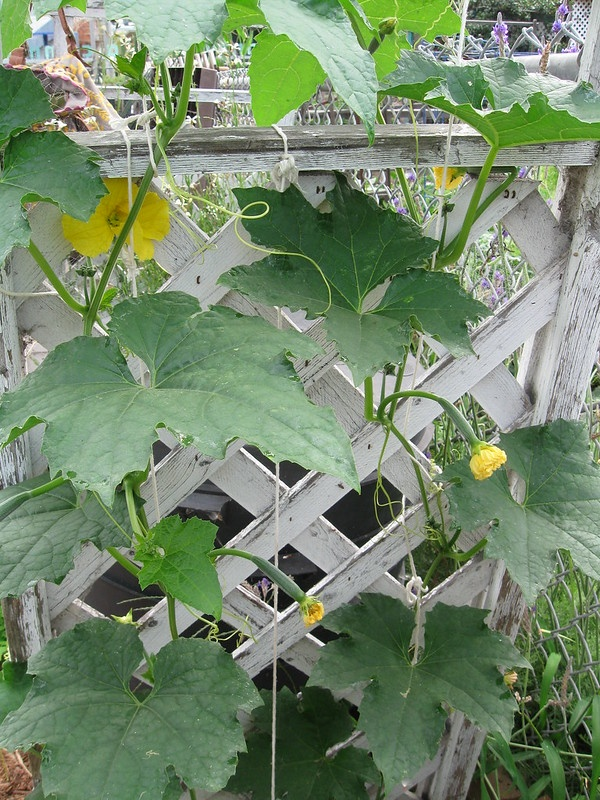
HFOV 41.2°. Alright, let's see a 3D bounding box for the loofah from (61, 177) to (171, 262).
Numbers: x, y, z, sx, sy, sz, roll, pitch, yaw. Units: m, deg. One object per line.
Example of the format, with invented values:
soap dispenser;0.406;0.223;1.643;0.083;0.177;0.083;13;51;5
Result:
loofah;-0.292;-0.274;1.282;0.156;0.129;0.053;20;-10;-27
